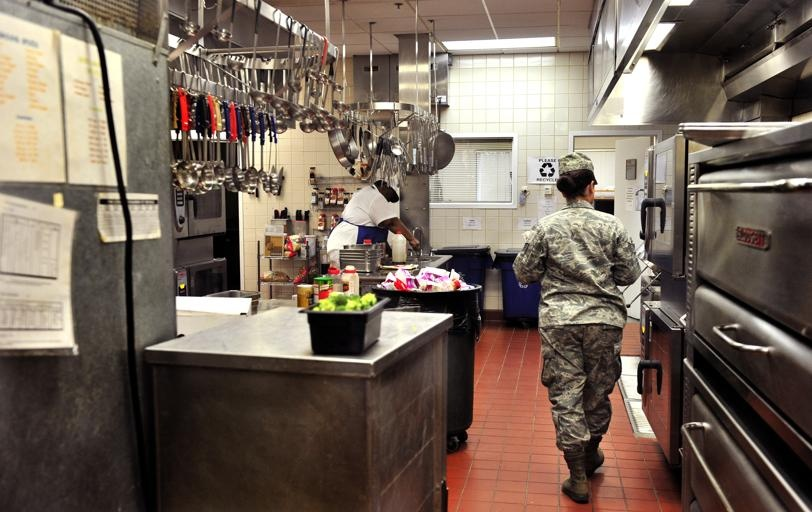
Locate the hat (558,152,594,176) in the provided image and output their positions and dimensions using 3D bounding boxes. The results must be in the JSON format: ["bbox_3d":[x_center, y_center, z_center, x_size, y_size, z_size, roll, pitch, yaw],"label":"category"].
[{"bbox_3d":[1.048,-0.560,3.670,0.195,0.127,0.141,-1,7,8],"label":"hat"}]

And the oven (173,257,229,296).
[{"bbox_3d":[-1.797,0.217,5.293,0.515,0.324,0.265,-15,18,-41],"label":"oven"}]

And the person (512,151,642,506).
[{"bbox_3d":[1.044,0.411,3.601,0.693,2.029,0.481,-5,9,-21],"label":"person"}]

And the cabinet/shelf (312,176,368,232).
[{"bbox_3d":[-1.021,-0.718,8.222,0.338,0.977,1.082,1,6,42],"label":"cabinet/shelf"}]

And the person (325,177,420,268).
[{"bbox_3d":[-0.384,-0.384,6.499,0.921,1.258,0.879,-1,5,-14],"label":"person"}]

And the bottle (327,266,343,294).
[{"bbox_3d":[-0.431,0.143,3.643,0.107,0.197,0.105,-1,2,0],"label":"bottle"}]

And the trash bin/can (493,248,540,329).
[{"bbox_3d":[1.353,0.439,7.738,0.885,1.170,0.889,0,-1,2],"label":"trash bin/can"}]

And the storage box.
[{"bbox_3d":[-0.198,0.225,1.995,0.162,0.109,0.246,1,4,9],"label":"storage box"}]

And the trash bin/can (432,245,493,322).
[{"bbox_3d":[0.817,0.314,7.366,0.858,1.114,0.879,-1,0,5],"label":"trash bin/can"}]

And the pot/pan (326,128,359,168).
[{"bbox_3d":[-0.591,-1.025,5.657,0.240,0.327,0.730,-3,9,-7],"label":"pot/pan"}]
